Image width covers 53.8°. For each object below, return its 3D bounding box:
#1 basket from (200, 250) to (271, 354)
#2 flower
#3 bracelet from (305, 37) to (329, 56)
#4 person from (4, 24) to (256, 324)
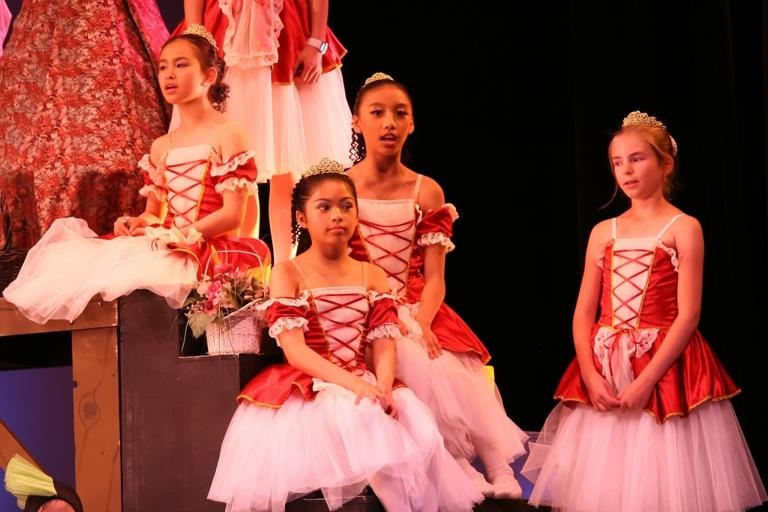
[{"bbox_3d":[-0.534,0.186,2.657,0.297,0.343,0.272,-4,-4,33],"label":"basket"},{"bbox_3d":[-0.555,0.180,2.653,0.283,0.256,0.294,-4,-4,30],"label":"flower"},{"bbox_3d":[-0.325,-1.000,3.624,0.091,0.067,0.101,13,-2,10],"label":"bracelet"},{"bbox_3d":[-0.945,-0.368,2.919,0.923,1.039,0.648,-5,2,-16],"label":"person"}]
